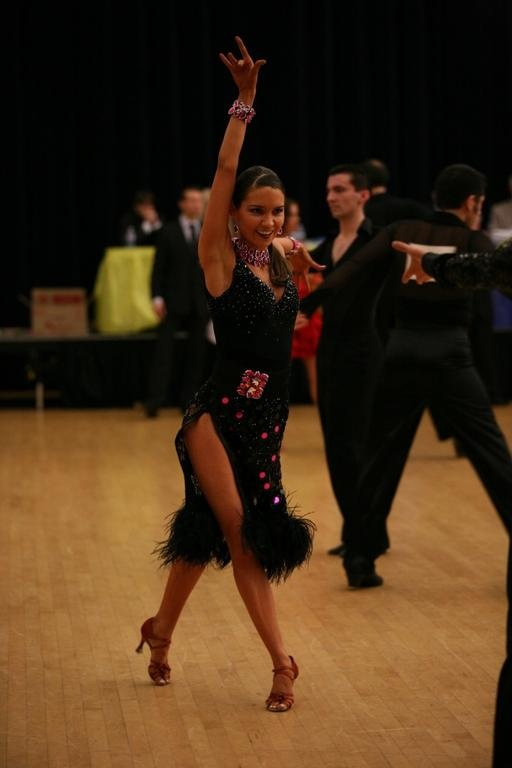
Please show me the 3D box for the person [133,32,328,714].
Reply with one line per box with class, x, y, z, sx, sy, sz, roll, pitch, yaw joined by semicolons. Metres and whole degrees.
person;-0.014;0.026;1.581;0.383;1.399;0.555;1;-4;-16
